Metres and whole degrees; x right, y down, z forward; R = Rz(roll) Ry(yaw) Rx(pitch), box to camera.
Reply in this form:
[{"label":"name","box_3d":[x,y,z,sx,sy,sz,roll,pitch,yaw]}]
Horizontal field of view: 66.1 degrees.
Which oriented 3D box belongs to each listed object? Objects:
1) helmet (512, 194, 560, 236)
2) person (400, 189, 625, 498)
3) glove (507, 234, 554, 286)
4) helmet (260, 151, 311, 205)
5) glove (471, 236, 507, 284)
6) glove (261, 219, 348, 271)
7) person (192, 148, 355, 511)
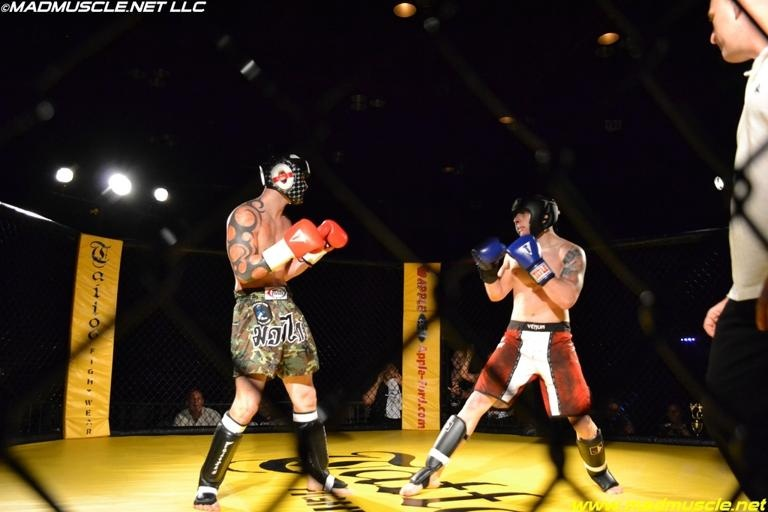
[{"label":"helmet","box_3d":[1.251,-0.313,4.897,0.403,0.376,0.356,10,-4,-23]},{"label":"person","box_3d":[1.054,0.632,4.621,1.339,2.220,0.621,-2,-20,10]},{"label":"glove","box_3d":[1.148,0.040,4.558,0.264,0.407,0.136,-42,-17,6]},{"label":"helmet","box_3d":[-0.763,-0.588,4.664,0.397,0.375,0.321,-8,-5,1]},{"label":"glove","box_3d":[0.844,0.021,4.743,0.233,0.223,0.181,-15,-27,9]},{"label":"glove","box_3d":[-0.586,-0.092,4.419,0.516,0.365,0.237,-41,1,2]},{"label":"person","box_3d":[-0.795,0.491,4.402,0.908,2.595,0.801,8,-21,-16]}]
